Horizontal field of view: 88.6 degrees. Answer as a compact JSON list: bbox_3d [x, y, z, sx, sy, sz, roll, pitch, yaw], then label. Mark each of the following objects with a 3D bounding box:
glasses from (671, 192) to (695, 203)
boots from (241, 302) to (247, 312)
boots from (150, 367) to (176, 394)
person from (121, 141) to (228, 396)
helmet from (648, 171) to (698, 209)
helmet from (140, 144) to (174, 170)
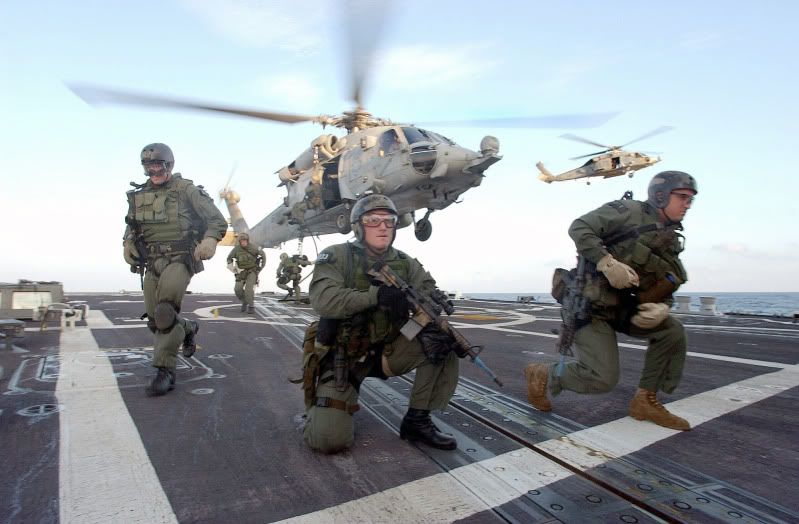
[{"bbox_3d":[2.771,-0.626,3.999,0.210,0.097,0.066,1,4,-5],"label":"glasses"},{"bbox_3d":[-4.917,1.384,12.855,0.160,0.271,0.282,0,4,-20],"label":"boots"},{"bbox_3d":[-2.671,1.309,4.582,0.255,0.267,0.336,0,4,-25],"label":"boots"},{"bbox_3d":[-2.783,0.002,5.011,1.025,2.876,1.381,-1,5,-30],"label":"person"},{"bbox_3d":[2.658,-0.710,4.026,0.401,0.361,0.218,3,5,23],"label":"helmet"},{"bbox_3d":[-2.916,-1.286,4.908,0.311,0.294,0.482,-1,4,-29],"label":"helmet"}]
